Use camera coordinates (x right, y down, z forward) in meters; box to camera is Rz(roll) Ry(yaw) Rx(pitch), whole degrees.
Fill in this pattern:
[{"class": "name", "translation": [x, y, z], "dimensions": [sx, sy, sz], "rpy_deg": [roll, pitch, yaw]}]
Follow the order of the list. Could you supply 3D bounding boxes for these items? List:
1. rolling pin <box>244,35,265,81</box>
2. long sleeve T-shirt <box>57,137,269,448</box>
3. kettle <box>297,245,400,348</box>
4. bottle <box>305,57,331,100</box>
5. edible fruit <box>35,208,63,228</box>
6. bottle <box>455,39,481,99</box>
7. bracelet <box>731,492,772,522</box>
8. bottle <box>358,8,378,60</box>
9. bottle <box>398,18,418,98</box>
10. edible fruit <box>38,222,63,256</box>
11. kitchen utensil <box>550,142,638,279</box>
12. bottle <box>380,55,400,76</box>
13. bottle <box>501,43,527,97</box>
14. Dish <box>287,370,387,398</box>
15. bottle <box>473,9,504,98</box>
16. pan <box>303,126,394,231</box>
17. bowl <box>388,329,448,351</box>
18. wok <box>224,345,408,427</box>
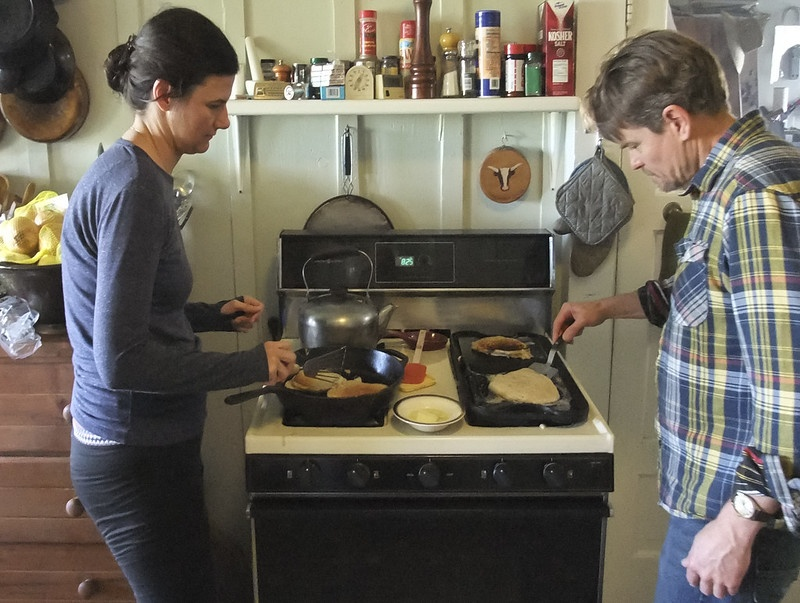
[{"class": "rolling pin", "translation": [-0.486, -0.804, 2.483], "dimensions": [0.032, 0.147, 0.033], "rpy_deg": [8, 10, 10]}, {"class": "long sleeve T-shirt", "translation": [-0.559, 0.006, 2.115], "dimensions": [0.624, 0.896, 0.909], "rpy_deg": [-3, 12, -19]}, {"class": "kettle", "translation": [-0.162, 0.014, 2.309], "dimensions": [0.321, 0.340, 0.250], "rpy_deg": [0, 18, -11]}, {"class": "bottle", "translation": [-0.269, -0.719, 2.475], "dimensions": [0.105, 0.163, 0.170], "rpy_deg": [1, 13, 1]}, {"class": "edible fruit", "translation": [-1.086, -0.256, 2.317], "dimensions": [0.059, 0.040, 0.072], "rpy_deg": [-2, 1, 20]}, {"class": "bottle", "translation": [0.220, -0.752, 2.414], "dimensions": [0.085, 0.189, 0.088], "rpy_deg": [-3, 26, 1]}, {"class": "bracelet", "translation": [0.714, 0.420, 1.532], "dimensions": [0.070, 0.036, 0.066], "rpy_deg": [9, 30, -27]}, {"class": "bottle", "translation": [-0.108, -0.872, 2.463], "dimensions": [0.061, 0.159, 0.109], "rpy_deg": [-1, 8, -3]}, {"class": "bottle", "translation": [0.018, -0.798, 2.456], "dimensions": [0.041, 0.235, 0.129], "rpy_deg": [-3, 9, -21]}, {"class": "edible fruit", "translation": [-1.058, -0.192, 2.265], "dimensions": [0.029, 0.094, 0.094], "rpy_deg": [-9, 61, -25]}, {"class": "kitchen utensil", "translation": [0.636, -0.306, 2.454], "dimensions": [0.245, 0.405, 0.106], "rpy_deg": [2, 20, 1]}, {"class": "bottle", "translation": [-0.034, -0.761, 2.415], "dimensions": [0.064, 0.061, 0.064], "rpy_deg": [-1, 3, -11]}, {"class": "bottle", "translation": [0.364, -0.734, 2.388], "dimensions": [0.067, 0.165, 0.055], "rpy_deg": [1, 8, 7]}, {"class": "Dish", "translation": [-0.180, 0.230, 2.049], "dimensions": [0.177, 0.040, 0.109], "rpy_deg": [12, 3, -3]}, {"class": "bottle", "translation": [0.255, -0.788, 2.412], "dimensions": [0.098, 0.274, 0.102], "rpy_deg": [-3, 15, 1]}, {"class": "pan", "translation": [-0.201, -0.368, 2.560], "dimensions": [0.284, 0.494, 0.064], "rpy_deg": [-4, 51, -15]}, {"class": "bowl", "translation": [0.056, 0.120, 2.523], "dimensions": [0.150, 0.036, 0.086], "rpy_deg": [0, 11, 13]}, {"class": "wok", "translation": [-0.193, 0.242, 2.044], "dimensions": [0.372, 0.079, 0.241], "rpy_deg": [-8, 18, -27]}]
